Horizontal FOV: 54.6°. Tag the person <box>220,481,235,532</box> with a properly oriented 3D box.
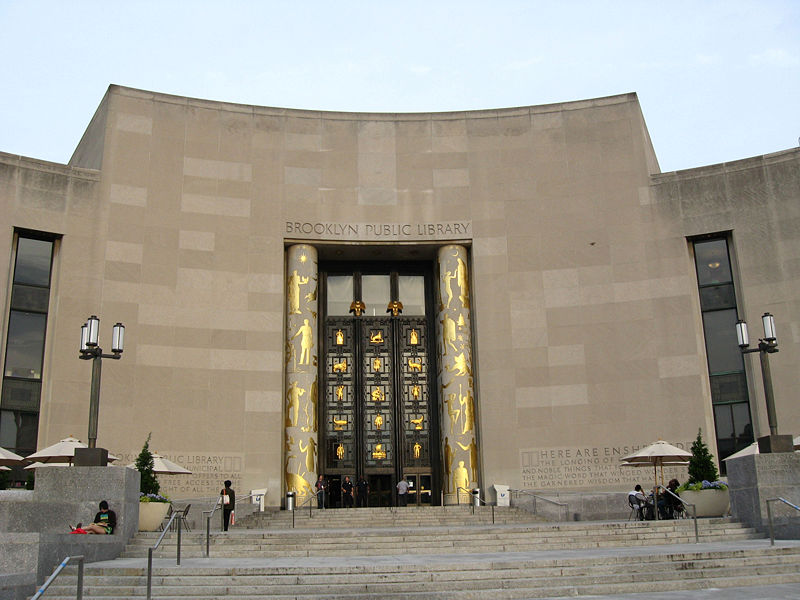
[{"bbox_3d":[-4.992,5.979,22.472,0.389,1.374,1.621,1,-15,-13],"label":"person"}]

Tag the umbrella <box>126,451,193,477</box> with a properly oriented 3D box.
[{"bbox_3d":[-7.568,5.201,24.133,1.602,0.582,1.779,2,-18,5],"label":"umbrella"}]

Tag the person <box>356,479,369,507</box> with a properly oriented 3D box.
[{"bbox_3d":[-1.501,7.855,31.473,0.519,1.076,1.610,-1,-15,-4],"label":"person"}]

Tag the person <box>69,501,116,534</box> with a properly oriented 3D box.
[{"bbox_3d":[-6.899,5.049,17.946,0.686,0.786,0.697,3,-15,-20],"label":"person"}]

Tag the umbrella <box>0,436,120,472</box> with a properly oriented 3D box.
[{"bbox_3d":[-10.371,4.659,23.191,2.068,1.070,2.154,5,-19,-10],"label":"umbrella"}]

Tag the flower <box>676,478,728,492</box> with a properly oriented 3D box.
[{"bbox_3d":[8.670,5.375,22.243,1.267,0.298,0.587,-7,-15,15],"label":"flower"}]

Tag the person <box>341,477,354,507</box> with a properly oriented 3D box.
[{"bbox_3d":[-2.085,7.842,31.638,0.525,1.184,1.379,-1,-14,-5],"label":"person"}]
